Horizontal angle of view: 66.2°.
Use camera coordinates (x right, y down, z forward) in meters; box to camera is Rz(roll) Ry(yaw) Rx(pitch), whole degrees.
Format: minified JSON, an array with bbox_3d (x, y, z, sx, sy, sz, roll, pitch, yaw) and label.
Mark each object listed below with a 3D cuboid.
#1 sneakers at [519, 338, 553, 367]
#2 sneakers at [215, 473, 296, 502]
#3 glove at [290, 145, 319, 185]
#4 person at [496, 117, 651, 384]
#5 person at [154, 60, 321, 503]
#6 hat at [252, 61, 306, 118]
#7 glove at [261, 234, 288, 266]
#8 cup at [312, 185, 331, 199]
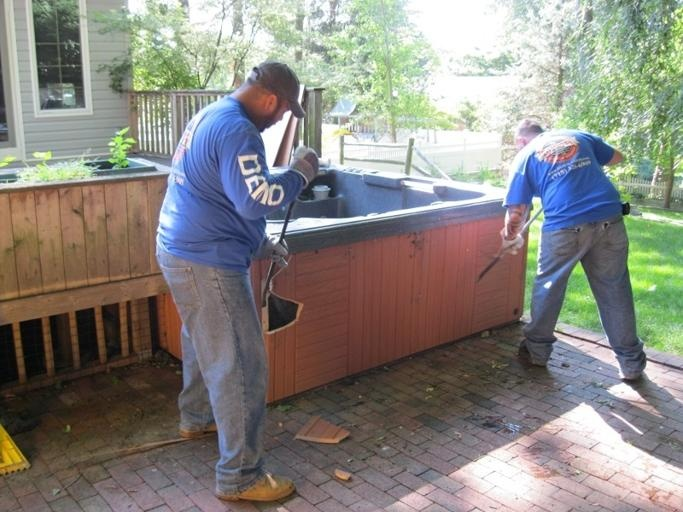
[{"bbox_3d":[1.527,0.777,4.174,0.116,0.134,0.323,-4,7,-18],"label":"sneakers"},{"bbox_3d":[-0.447,1.196,2.784,0.407,0.165,0.150,-5,24,-12],"label":"sneakers"},{"bbox_3d":[-0.190,-0.457,2.609,0.128,0.197,0.068,-13,-7,-26],"label":"glove"},{"bbox_3d":[1.763,-0.023,3.969,1.074,1.762,0.477,6,20,16],"label":"person"},{"bbox_3d":[-0.501,0.158,2.677,0.699,2.186,0.748,-10,22,-27],"label":"person"},{"bbox_3d":[-0.316,-0.826,2.607,0.254,0.264,0.239,-1,19,-6],"label":"hat"},{"bbox_3d":[-0.374,-0.030,3.014,0.173,0.065,0.174,19,-4,11],"label":"glove"},{"bbox_3d":[-0.219,-0.686,5.695,0.172,0.118,0.162,-1,8,0],"label":"cup"}]
